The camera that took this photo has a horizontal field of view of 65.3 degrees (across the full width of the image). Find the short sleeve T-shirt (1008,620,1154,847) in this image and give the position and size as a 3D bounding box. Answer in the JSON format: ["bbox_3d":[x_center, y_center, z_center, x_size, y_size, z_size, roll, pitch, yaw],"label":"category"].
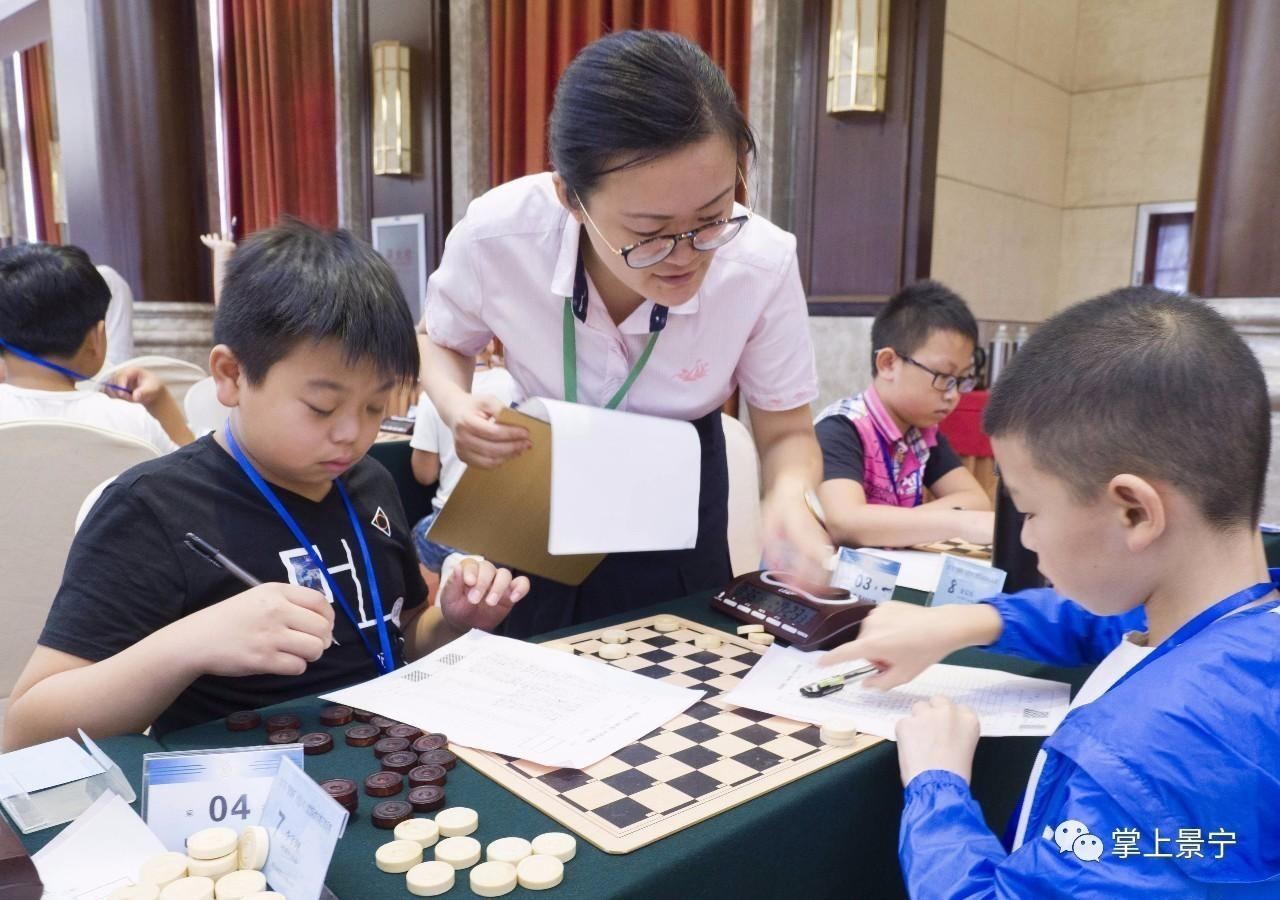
[{"bbox_3d":[0.592,0.383,1.331,0.043,0.085,0.371,30,27,20],"label":"short sleeve T-shirt"}]

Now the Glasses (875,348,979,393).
[{"bbox_3d":[0.799,-0.221,2.647,0.144,0.042,0.141,38,28,29],"label":"Glasses"}]

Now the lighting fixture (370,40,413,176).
[{"bbox_3d":[-1.271,-1.760,5.193,0.190,0.629,0.232,-2,4,-16],"label":"lighting fixture"}]

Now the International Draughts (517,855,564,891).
[{"bbox_3d":[-0.118,0.509,1.205,0.057,0.027,0.037,0,4,5],"label":"International Draughts"}]

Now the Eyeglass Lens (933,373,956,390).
[{"bbox_3d":[0.807,-0.174,2.625,0.048,0.015,0.047,5,-7,-23],"label":"Eyeglass Lens"}]

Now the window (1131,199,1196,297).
[{"bbox_3d":[2.695,-0.971,5.038,0.047,0.465,0.272,-14,19,-26],"label":"window"}]

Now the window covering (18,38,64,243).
[{"bbox_3d":[-6.159,-3.106,10.292,0.348,1.829,1.196,-3,5,-31],"label":"window covering"}]

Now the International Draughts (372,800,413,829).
[{"bbox_3d":[-0.314,0.465,1.278,0.033,0.011,0.032,2,5,-21],"label":"International Draughts"}]

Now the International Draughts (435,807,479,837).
[{"bbox_3d":[-0.232,0.476,1.275,0.048,0.025,0.041,1,4,29],"label":"International Draughts"}]

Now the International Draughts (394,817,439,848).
[{"bbox_3d":[-0.277,0.481,1.255,0.037,0.009,0.036,3,9,-9],"label":"International Draughts"}]

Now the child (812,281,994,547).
[{"bbox_3d":[0.711,-0.052,2.727,0.522,0.777,0.570,8,6,35],"label":"child"}]

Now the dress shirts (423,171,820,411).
[{"bbox_3d":[-0.028,-0.303,2.040,0.823,0.563,0.363,11,44,9],"label":"dress shirts"}]

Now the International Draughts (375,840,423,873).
[{"bbox_3d":[-0.293,0.500,1.228,0.055,0.028,0.034,-1,4,1],"label":"International Draughts"}]

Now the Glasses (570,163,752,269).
[{"bbox_3d":[0.038,-0.365,1.680,0.286,0.127,0.108,-1,4,-2],"label":"Glasses"}]

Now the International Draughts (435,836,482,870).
[{"bbox_3d":[-0.220,0.496,1.231,0.037,0.008,0.036,-1,9,-23],"label":"International Draughts"}]

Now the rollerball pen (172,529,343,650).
[{"bbox_3d":[-0.606,0.219,1.562,0.305,0.033,0.034,37,10,4],"label":"rollerball pen"}]

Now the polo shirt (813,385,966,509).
[{"bbox_3d":[0.673,0.011,2.788,0.587,0.338,0.275,2,2,-39],"label":"polo shirt"}]

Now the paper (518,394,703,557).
[{"bbox_3d":[-0.073,0.032,1.828,0.364,0.270,0.263,-1,8,-32],"label":"paper"}]

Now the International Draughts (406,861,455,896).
[{"bbox_3d":[-0.249,0.517,1.201,0.056,0.028,0.036,0,4,18],"label":"International Draughts"}]
